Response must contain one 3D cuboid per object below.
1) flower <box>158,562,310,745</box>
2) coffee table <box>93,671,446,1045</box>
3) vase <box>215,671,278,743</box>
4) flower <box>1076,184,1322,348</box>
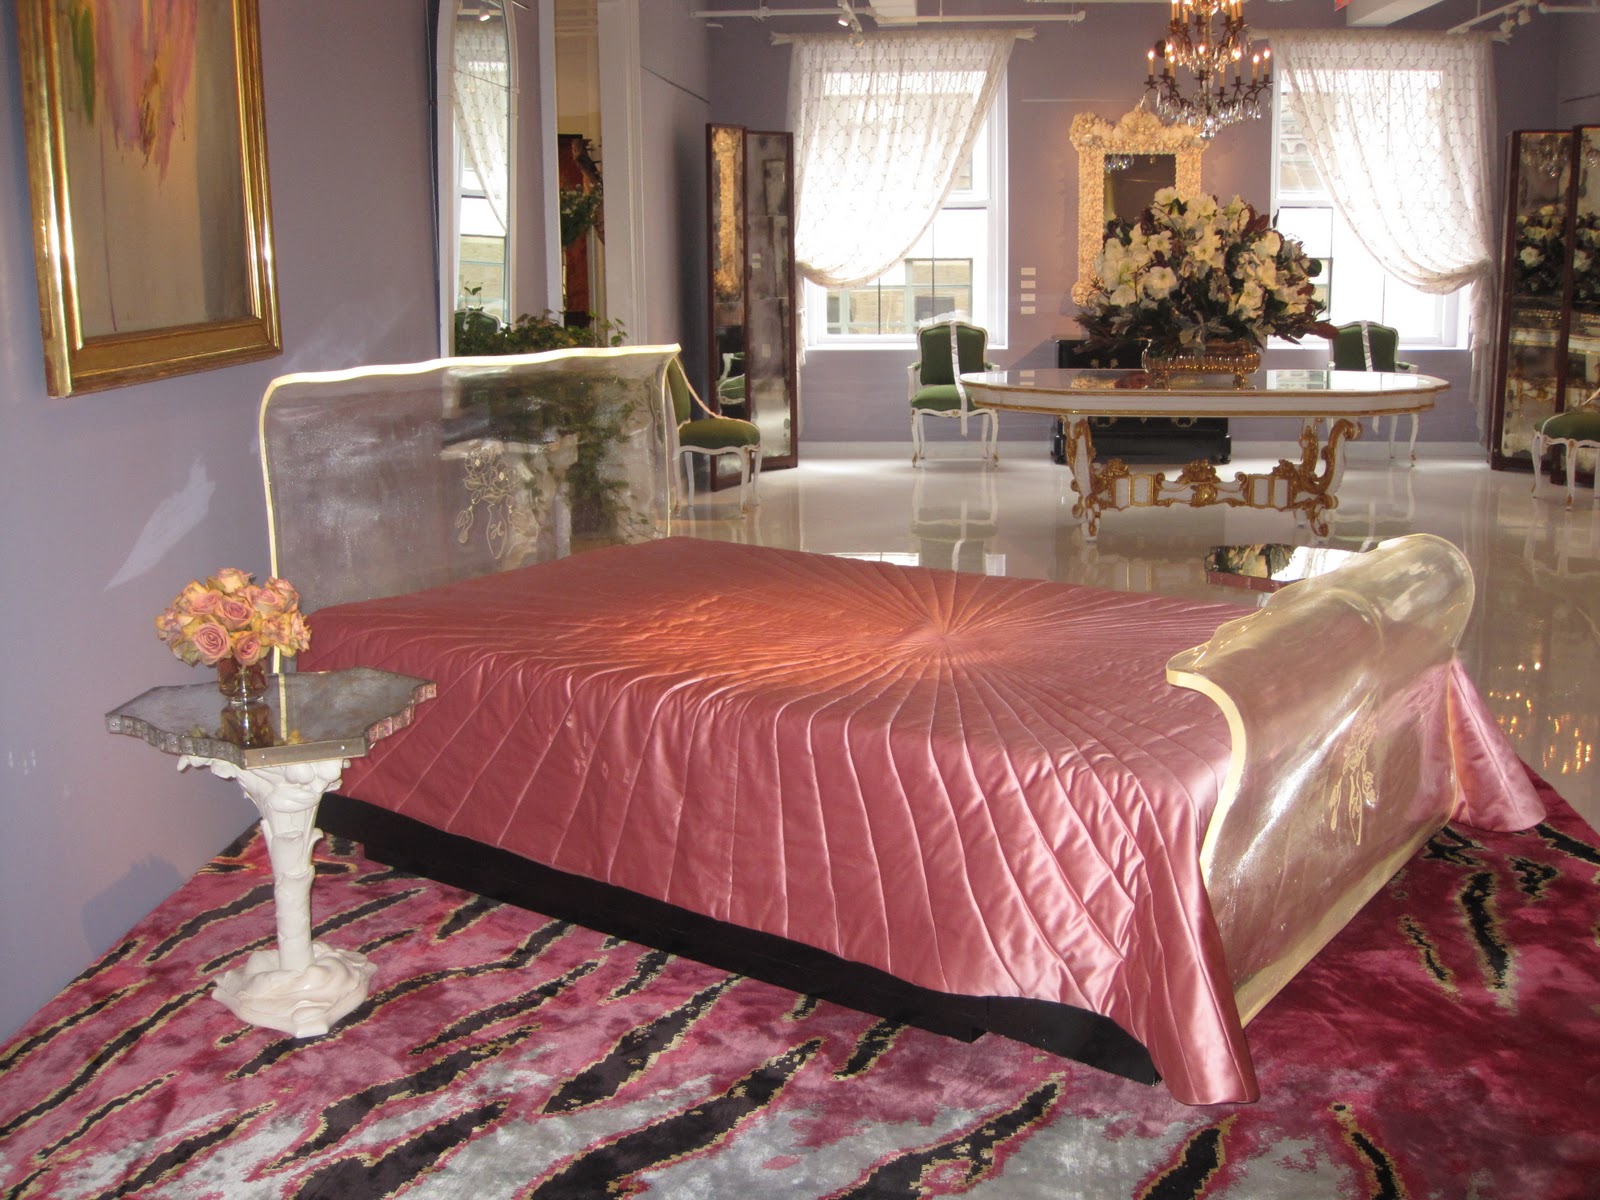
[{"bbox_3d":[-1.330,0.092,2.754,0.370,0.408,0.383,-4,8,-25],"label":"flower"},{"bbox_3d":[-1.285,0.541,2.938,0.769,0.822,0.746,12,21,25],"label":"coffee table"},{"bbox_3d":[-1.317,0.260,2.652,0.113,0.196,0.115,0,8,-2],"label":"vase"},{"bbox_3d":[2.555,-2.001,7.005,1.215,0.897,1.243,-9,25,-21],"label":"flower"}]
